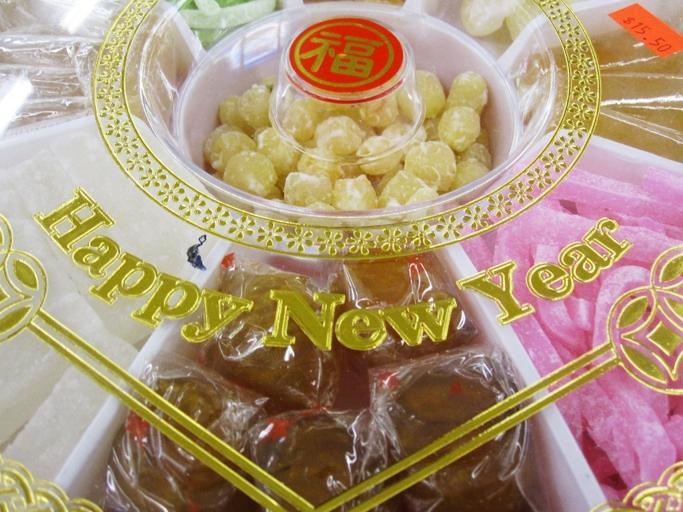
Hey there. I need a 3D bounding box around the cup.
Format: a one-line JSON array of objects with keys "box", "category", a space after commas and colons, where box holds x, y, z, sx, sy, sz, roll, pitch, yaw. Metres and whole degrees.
[{"box": [0.003, -0.387, 1.470, 0.364, 0.348, 0.149, -19, -26, -3], "category": "cup"}]
